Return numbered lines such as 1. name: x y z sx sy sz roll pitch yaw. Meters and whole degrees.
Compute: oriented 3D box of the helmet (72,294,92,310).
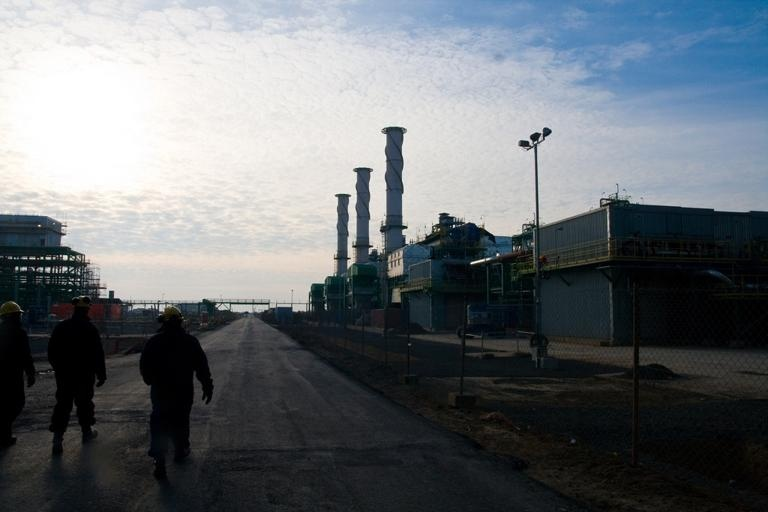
1. helmet: -7.835 1.166 19.793 0.417 0.379 0.478 -1 -1 -17
